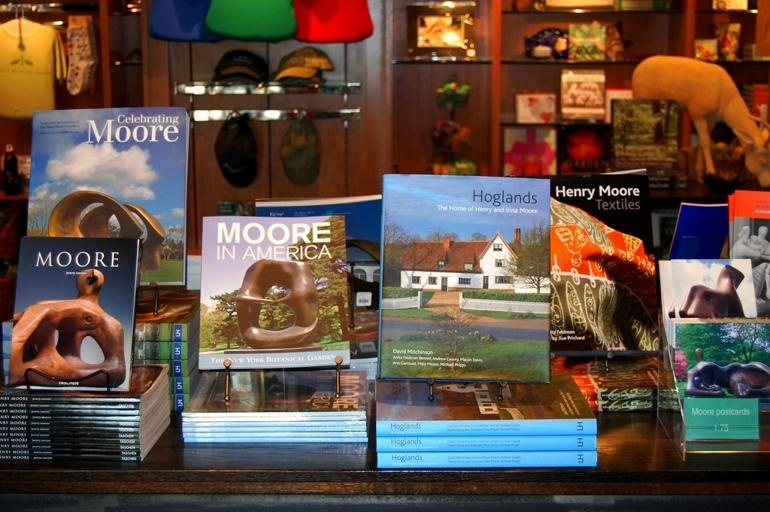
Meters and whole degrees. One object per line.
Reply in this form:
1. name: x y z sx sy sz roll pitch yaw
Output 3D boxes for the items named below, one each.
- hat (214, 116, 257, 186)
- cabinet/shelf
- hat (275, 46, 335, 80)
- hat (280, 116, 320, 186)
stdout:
1. hat: -1.009 -0.702 5.669 0.275 0.433 0.115 2 19 1
2. cabinet/shelf: 1.381 -1.499 5.600 2.297 0.463 0.322 -2 9 -1
3. hat: -0.527 -1.281 5.559 0.328 0.168 0.475 6 25 36
4. hat: -0.573 -0.707 5.673 0.260 0.459 0.150 9 9 24
